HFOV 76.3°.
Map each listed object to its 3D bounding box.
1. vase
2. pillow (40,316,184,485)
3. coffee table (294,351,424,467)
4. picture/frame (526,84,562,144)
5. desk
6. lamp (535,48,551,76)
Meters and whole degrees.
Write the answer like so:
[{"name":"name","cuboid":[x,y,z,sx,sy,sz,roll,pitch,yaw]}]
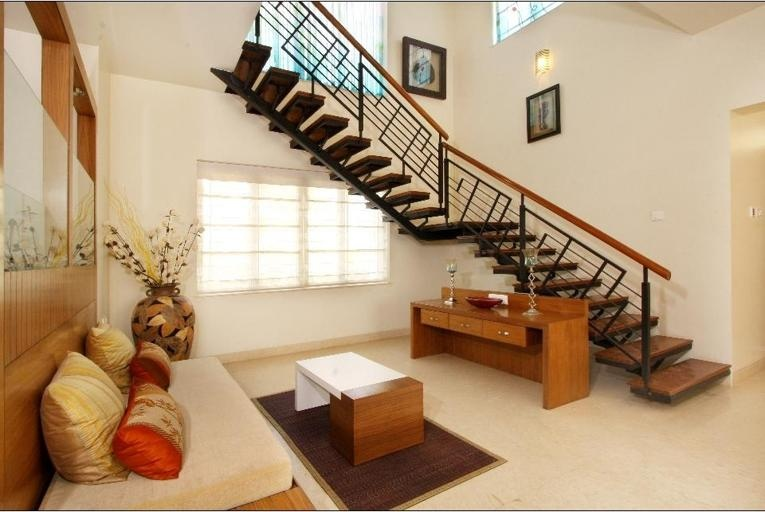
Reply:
[{"name":"vase","cuboid":[-2.544,0.795,5.637,0.702,0.899,0.712,-3,-2,42]},{"name":"pillow","cuboid":[-1.829,0.713,3.478,0.818,0.621,1.875,4,2,-18]},{"name":"coffee table","cuboid":[-0.274,1.375,4.654,0.789,0.544,1.256,-3,7,-36]},{"name":"picture/frame","cuboid":[2.256,-1.997,6.857,0.135,0.726,0.521,-8,7,-35]},{"name":"desk","cuboid":[1.202,0.917,5.738,0.692,0.960,2.144,-4,4,-34]},{"name":"lamp","cuboid":[2.250,-2.730,6.841,0.228,0.339,0.098,-1,6,22]}]
